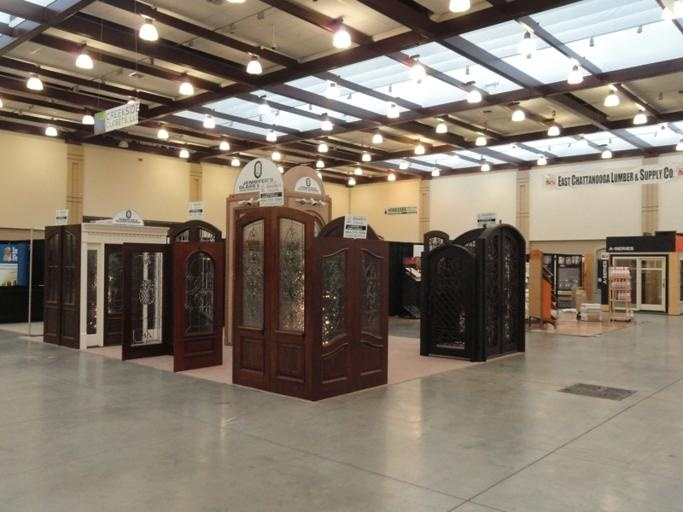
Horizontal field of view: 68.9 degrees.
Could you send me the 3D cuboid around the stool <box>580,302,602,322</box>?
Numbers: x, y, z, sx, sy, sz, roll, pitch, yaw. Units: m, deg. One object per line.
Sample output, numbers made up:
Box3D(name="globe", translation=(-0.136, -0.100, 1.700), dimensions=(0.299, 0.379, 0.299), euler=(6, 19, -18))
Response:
Box3D(name="stool", translation=(7.478, 1.704, 15.020), dimensions=(0.784, 0.549, 0.454), euler=(1, -1, -29))
